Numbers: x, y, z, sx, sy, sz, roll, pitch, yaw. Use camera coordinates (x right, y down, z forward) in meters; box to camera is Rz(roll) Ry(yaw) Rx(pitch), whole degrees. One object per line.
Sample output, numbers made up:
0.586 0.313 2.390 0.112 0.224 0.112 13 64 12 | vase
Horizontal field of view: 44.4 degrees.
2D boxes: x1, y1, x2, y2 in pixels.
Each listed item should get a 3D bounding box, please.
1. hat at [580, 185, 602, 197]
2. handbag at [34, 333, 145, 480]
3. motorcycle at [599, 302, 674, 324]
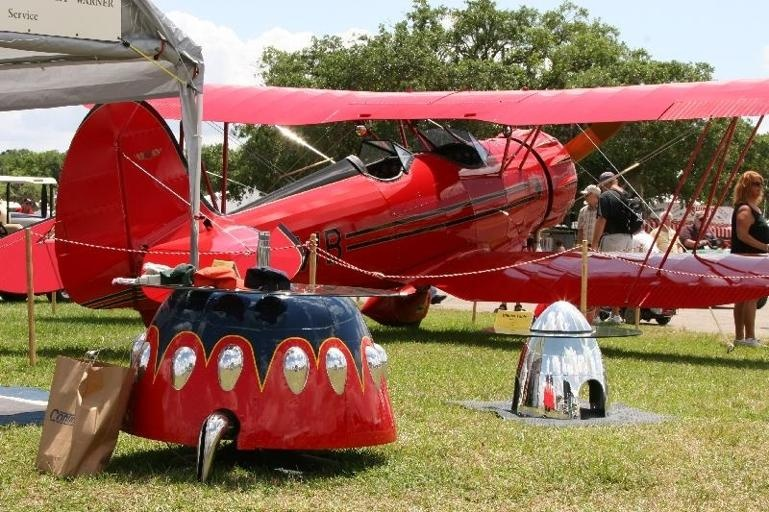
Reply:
3.668 -1.210 16.783 0.370 0.198 0.272 -1 -6 4 | hat
-2.547 1.328 8.134 0.911 0.993 0.557 -2 9 -14 | handbag
4.753 1.153 17.778 1.278 0.378 0.631 0 -2 23 | motorcycle
